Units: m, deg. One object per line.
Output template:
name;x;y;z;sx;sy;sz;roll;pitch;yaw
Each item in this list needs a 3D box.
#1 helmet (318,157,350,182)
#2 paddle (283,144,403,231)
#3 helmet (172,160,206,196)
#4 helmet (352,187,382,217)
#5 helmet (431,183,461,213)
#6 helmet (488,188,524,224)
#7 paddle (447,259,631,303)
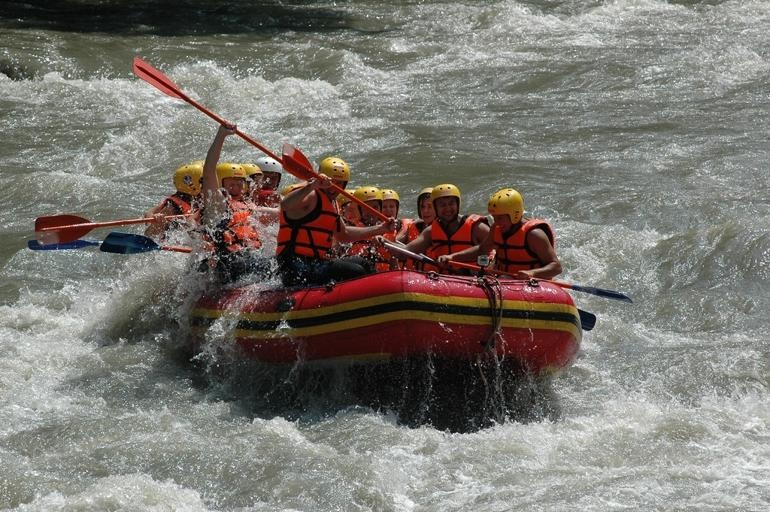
helmet;-0.698;-1.189;15.173;0.441;0.361;0.353;-4;-15;42
paddle;-0.822;-1.022;14.721;2.198;0.243;0.706;33;38;-1
helmet;-2.924;-1.160;16.417;0.621;0.397;0.396;-11;11;1
helmet;-0.270;-0.852;15.920;0.328;0.320;0.397;-3;2;-18
helmet;0.842;-0.819;15.068;0.295;0.339;0.265;-1;34;0
helmet;1.667;-0.705;14.702;0.422;0.473;0.444;3;13;7
paddle;2.057;0.350;14.809;2.361;0.150;0.234;10;20;7
